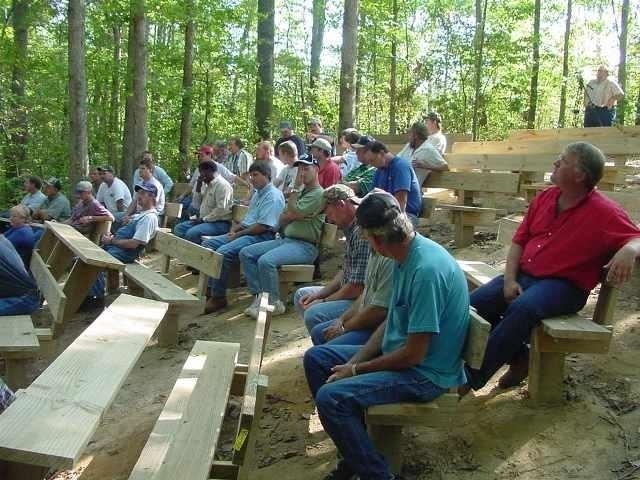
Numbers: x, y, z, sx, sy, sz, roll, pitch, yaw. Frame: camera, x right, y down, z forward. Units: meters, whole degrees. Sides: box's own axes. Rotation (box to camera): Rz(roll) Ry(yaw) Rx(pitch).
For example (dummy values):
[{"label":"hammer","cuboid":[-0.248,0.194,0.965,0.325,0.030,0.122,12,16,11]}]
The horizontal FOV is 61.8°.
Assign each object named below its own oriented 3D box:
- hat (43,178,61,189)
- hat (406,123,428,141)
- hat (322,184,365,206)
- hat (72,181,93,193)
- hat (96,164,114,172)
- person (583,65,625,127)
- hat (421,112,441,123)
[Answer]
[{"label":"hat","cuboid":[-5.495,-1.162,11.144,0.385,0.173,0.263,20,5,-33]},{"label":"hat","cuboid":[1.758,-1.931,9.521,0.423,0.277,0.309,12,16,14]},{"label":"hat","cuboid":[0.178,-0.433,5.183,0.443,0.155,0.227,-6,1,-6]},{"label":"hat","cuboid":[-4.317,-0.953,9.694,0.358,0.162,0.383,-4,8,-32]},{"label":"hat","cuboid":[-4.318,-1.440,10.782,0.206,0.073,0.254,1,-4,20]},{"label":"person","cuboid":[6.545,-3.326,12.397,0.755,1.432,1.121,3,13,19]},{"label":"hat","cuboid":[2.067,-2.405,10.368,0.405,0.112,0.268,13,8,23]}]
